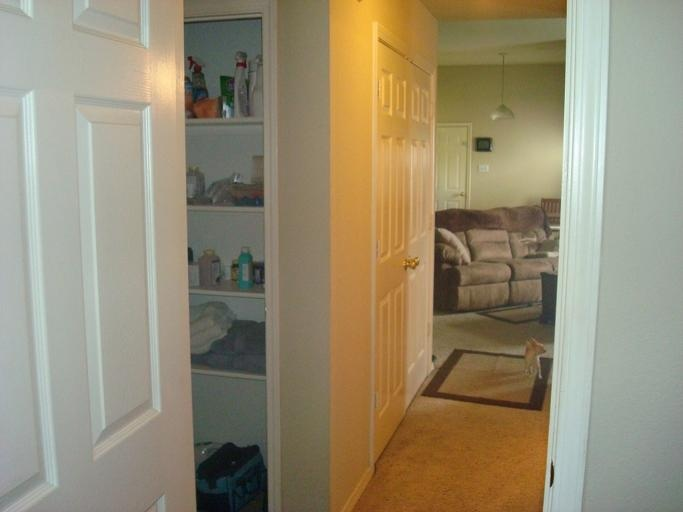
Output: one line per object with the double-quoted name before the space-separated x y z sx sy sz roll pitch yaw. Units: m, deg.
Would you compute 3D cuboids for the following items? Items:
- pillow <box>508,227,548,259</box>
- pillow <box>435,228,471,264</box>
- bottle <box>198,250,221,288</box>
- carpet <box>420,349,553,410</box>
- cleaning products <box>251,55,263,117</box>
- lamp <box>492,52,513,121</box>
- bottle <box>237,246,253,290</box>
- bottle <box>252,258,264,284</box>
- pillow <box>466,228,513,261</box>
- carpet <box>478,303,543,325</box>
"pillow" 2.176 -0.127 6.818 0.423 0.461 0.157 -3 -8 -18
"pillow" 1.167 -0.105 5.946 0.359 0.338 0.298 2 11 9
"bottle" -0.613 0.049 2.677 0.088 0.158 0.201 3 11 13
"carpet" 1.084 0.897 4.116 0.790 0.078 1.073 5 12 22
"cleaning products" -0.350 -0.727 2.402 0.036 0.258 0.087 -1 10 -4
"lamp" 2.387 -2.466 8.331 0.303 0.853 1.133 3 11 14
"bottle" -0.434 0.052 2.582 0.064 0.173 0.104 -1 11 -8
"bottle" -0.372 0.079 2.565 0.052 0.101 0.045 1 10 3
"pillow" 1.654 -0.130 6.408 0.499 0.385 0.118 -1 -19 -29
"carpet" 1.740 0.560 5.823 0.588 0.066 0.812 4 11 20
